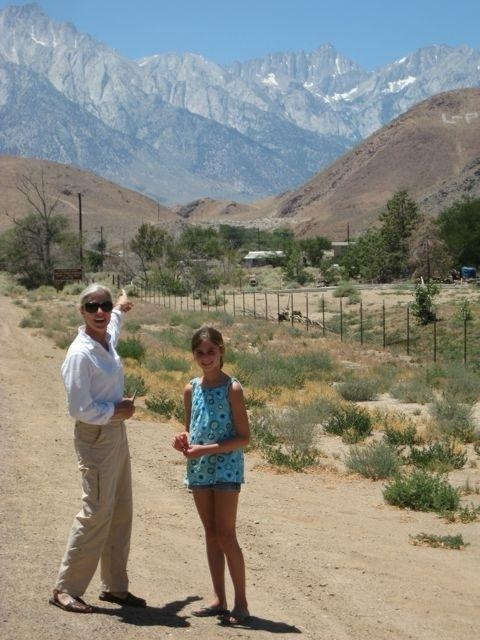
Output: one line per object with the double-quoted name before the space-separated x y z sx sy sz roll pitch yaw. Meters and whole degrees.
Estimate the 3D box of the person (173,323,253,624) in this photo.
"person" -0.182 1.108 6.498 0.590 1.461 0.473 2 1 2

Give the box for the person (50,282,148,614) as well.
"person" -0.990 0.918 6.548 0.636 2.362 0.798 2 1 5

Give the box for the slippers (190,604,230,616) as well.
"slippers" -0.213 2.102 6.457 0.244 0.071 0.095 1 -5 -2

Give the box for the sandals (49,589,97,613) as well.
"sandals" -1.164 1.969 6.259 0.297 0.121 0.132 4 7 24
